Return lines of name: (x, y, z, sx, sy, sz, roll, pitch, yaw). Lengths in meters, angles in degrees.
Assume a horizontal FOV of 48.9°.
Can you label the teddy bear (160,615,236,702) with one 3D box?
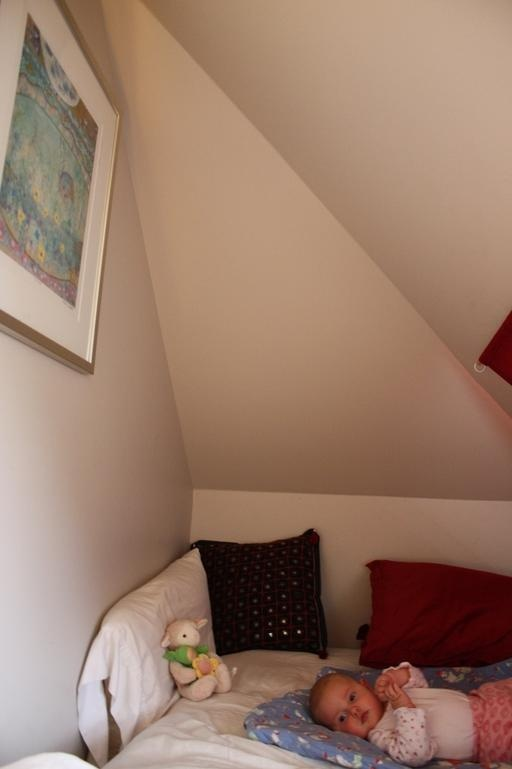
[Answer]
teddy bear: (-0.166, 0.839, 1.724, 0.199, 0.241, 0.233, -31, -27, 30)
